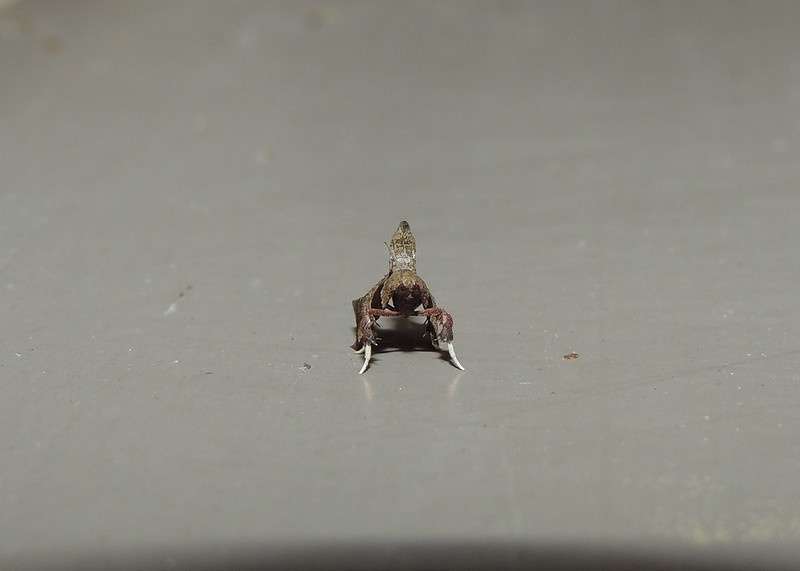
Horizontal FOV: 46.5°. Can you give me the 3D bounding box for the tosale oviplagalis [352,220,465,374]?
[{"bbox_3d":[0.051,0.075,9.131,1.022,1.354,0.875,-1,10,-5],"label":"tosale oviplagalis"}]
